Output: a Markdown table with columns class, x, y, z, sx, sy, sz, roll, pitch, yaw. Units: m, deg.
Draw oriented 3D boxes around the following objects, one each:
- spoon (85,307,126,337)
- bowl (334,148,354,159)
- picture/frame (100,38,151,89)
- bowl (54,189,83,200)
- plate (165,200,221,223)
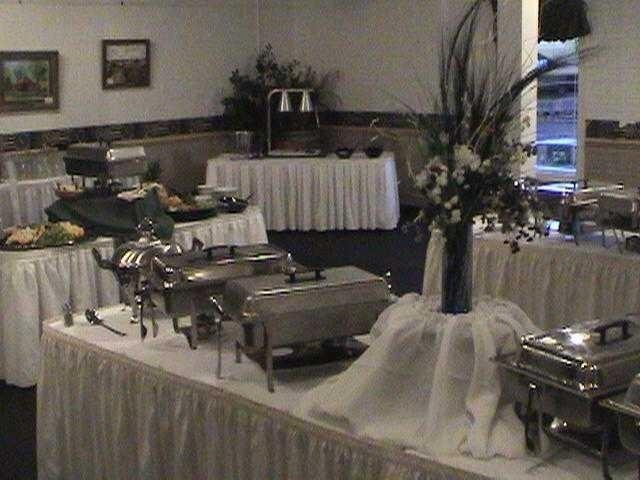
| class | x | y | z | sx | sy | sz | roll | pitch | yaw |
| --- | --- | --- | --- | --- | --- | --- | --- | --- | --- |
| spoon | -0.937 | 0.358 | 2.484 | 0.275 | 0.078 | 0.065 | 7 | 14 | 43 |
| bowl | 0.343 | -1.252 | 8.138 | 0.163 | 0.098 | 0.173 | -2 | 7 | 0 |
| picture/frame | -2.708 | -2.450 | 7.822 | 0.047 | 0.598 | 0.717 | 4 | 9 | 27 |
| bowl | -1.908 | -0.348 | 4.309 | 0.158 | 0.074 | 0.145 | -5 | 10 | 1 |
| plate | -0.999 | -0.219 | 4.471 | 0.446 | 0.127 | 0.248 | -11 | 13 | -33 |
